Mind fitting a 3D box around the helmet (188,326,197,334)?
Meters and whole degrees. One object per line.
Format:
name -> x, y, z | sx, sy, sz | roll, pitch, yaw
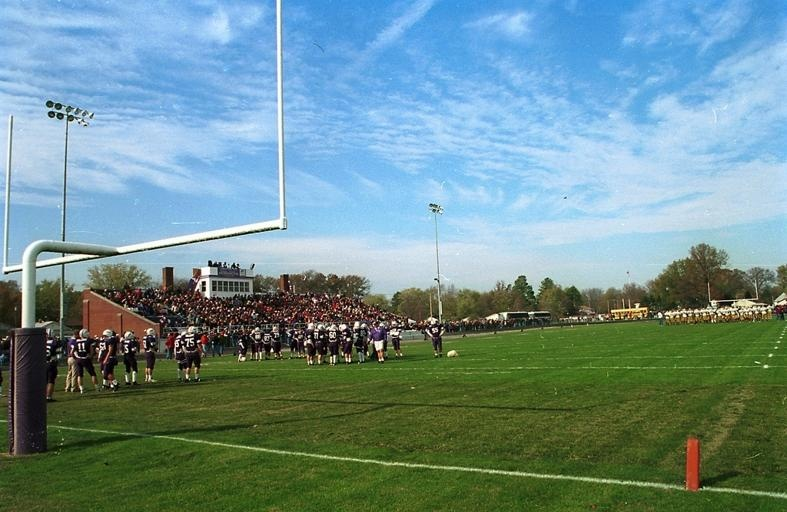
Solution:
helmet -> -6.262, 2.296, 20.041 | 0.254, 0.214, 0.191 | 2, -3, -31
